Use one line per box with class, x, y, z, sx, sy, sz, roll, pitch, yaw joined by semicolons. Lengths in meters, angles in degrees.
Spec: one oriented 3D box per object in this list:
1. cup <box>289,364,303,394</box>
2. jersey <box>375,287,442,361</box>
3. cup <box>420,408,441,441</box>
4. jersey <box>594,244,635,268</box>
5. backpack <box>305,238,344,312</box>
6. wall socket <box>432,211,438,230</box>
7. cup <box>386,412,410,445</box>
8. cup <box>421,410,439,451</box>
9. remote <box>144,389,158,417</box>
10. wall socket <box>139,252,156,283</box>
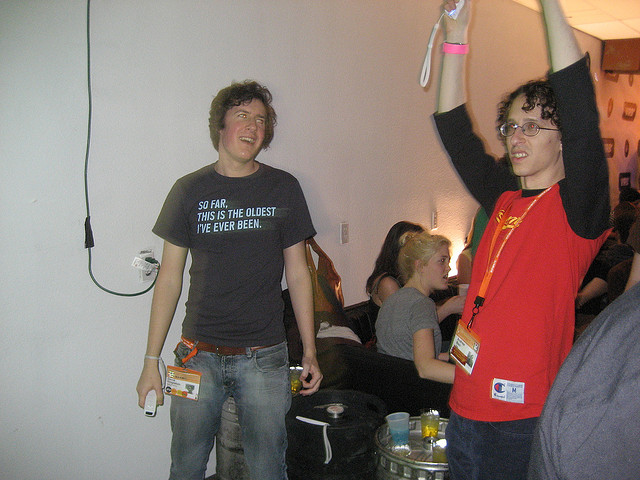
cup;-0.103;0.663;2.492;0.105;0.116;0.108;-2;-15;0
jersey;0.478;0.442;2.792;0.250;0.380;0.446;-8;4;-25
cup;0.488;0.836;2.349;0.096;0.156;0.096;2;-1;0
jersey;2.280;0.133;4.035;0.195;0.069;0.191;-27;23;-32
backpack;0.014;0.268;3.401;0.225;0.471;0.207;-21;-16;19
wall socket;1.026;-0.179;4.662;0.026;0.212;0.148;2;6;32
cup;0.363;0.863;2.332;0.118;0.141;0.117;-5;-17;-2
cup;0.501;0.854;2.346;0.094;0.173;0.105;-4;-18;18
remote;-0.689;0.674;2.148;0.049;0.144;0.113;0;2;-17
wall socket;-0.899;0.148;2.732;0.033;0.132;0.090;6;3;30
